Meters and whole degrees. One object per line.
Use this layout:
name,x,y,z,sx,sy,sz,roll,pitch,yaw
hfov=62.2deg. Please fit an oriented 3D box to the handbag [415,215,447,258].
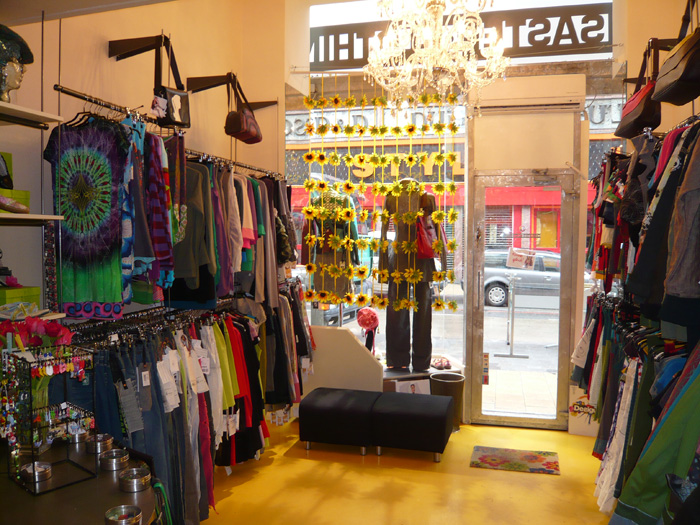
handbag,0.708,-0.231,5.173,0.306,0.511,0.095,-1,-5,-23

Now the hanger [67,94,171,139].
hanger,-1.472,-0.926,3.653,0.911,0.044,0.107,24,16,12

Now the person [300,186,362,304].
person,-0.169,-0.133,5.272,0.553,0.973,1.263,0,7,-5

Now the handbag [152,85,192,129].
handbag,-1.191,-1.032,3.852,0.129,0.375,0.356,4,7,27

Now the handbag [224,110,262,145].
handbag,-0.875,-1.125,4.772,0.194,0.249,0.306,3,7,20

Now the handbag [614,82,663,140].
handbag,1.848,-0.991,3.736,0.206,0.353,0.475,2,7,15
